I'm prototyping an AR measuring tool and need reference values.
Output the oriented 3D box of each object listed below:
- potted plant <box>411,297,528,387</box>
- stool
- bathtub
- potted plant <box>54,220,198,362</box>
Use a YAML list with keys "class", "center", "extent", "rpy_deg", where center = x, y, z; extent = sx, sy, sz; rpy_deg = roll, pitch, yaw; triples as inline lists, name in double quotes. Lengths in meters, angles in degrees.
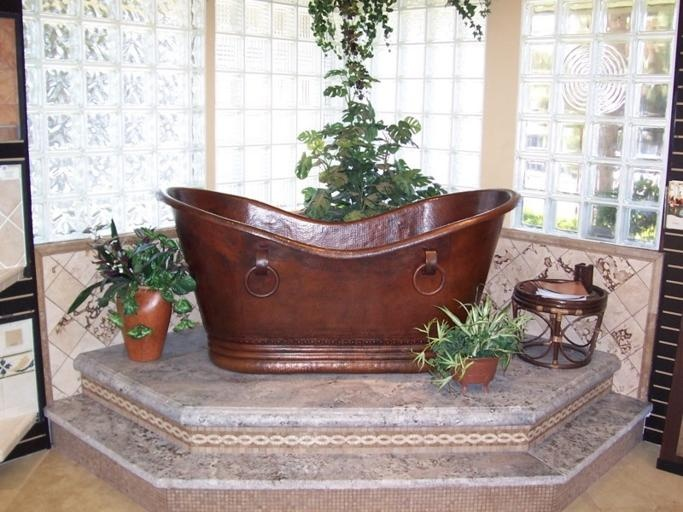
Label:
- class: "potted plant"
  center: [0.642, 0.404, 2.602]
  extent: [0.557, 0.444, 0.375]
  rpy_deg: [-4, 17, -10]
- class: "stool"
  center: [1.165, 0.316, 3.001]
  extent: [0.501, 0.413, 0.494]
  rpy_deg: [-2, 17, -5]
- class: "bathtub"
  center: [-0.012, 0.125, 2.858]
  extent: [1.863, 0.847, 0.726]
  rpy_deg: [-1, 14, -8]
- class: "potted plant"
  center: [-1.082, 0.169, 2.908]
  extent: [0.741, 0.639, 0.749]
  rpy_deg: [5, 6, 42]
